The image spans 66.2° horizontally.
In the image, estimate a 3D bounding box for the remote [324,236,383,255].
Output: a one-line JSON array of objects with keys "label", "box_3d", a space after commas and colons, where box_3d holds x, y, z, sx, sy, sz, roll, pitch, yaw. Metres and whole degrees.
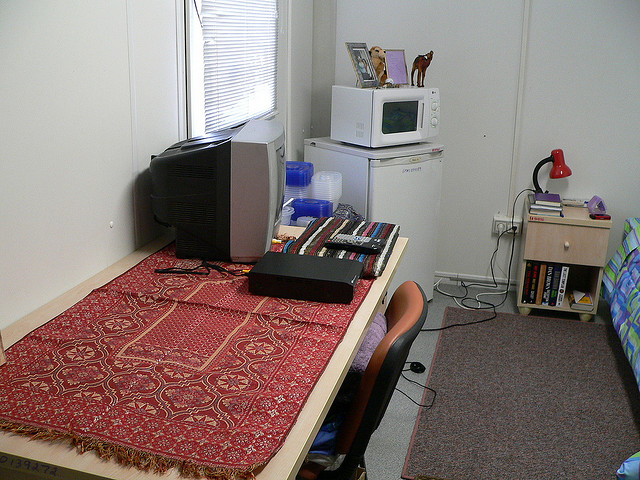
[{"label": "remote", "box_3d": [0.125, 0.016, 1.919, 0.168, 0.027, 0.086, 7, 22, 15]}]

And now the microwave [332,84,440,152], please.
[{"label": "microwave", "box_3d": [0.407, -0.785, 3.037, 0.443, 0.384, 0.594, 19, 28, 34]}]

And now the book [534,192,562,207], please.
[{"label": "book", "box_3d": [1.495, -0.268, 3.226, 0.118, 0.030, 0.125, 7, 26, 13]}]

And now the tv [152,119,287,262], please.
[{"label": "tv", "box_3d": [-0.461, -0.251, 2.053, 0.449, 0.496, 0.572, -1, 26, -14]}]

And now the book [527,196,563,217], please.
[{"label": "book", "box_3d": [1.472, -0.190, 3.206, 0.210, 0.043, 0.092, 11, 24, 22]}]

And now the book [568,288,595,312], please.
[{"label": "book", "box_3d": [1.766, 0.405, 3.319, 0.115, 0.049, 0.209, 3, 18, 22]}]

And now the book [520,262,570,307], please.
[{"label": "book", "box_3d": [1.571, 0.264, 3.421, 0.214, 0.301, 0.307, 7, 16, 22]}]

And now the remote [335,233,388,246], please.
[{"label": "remote", "box_3d": [0.172, -0.006, 1.975, 0.127, 0.018, 0.046, 11, 23, 22]}]
